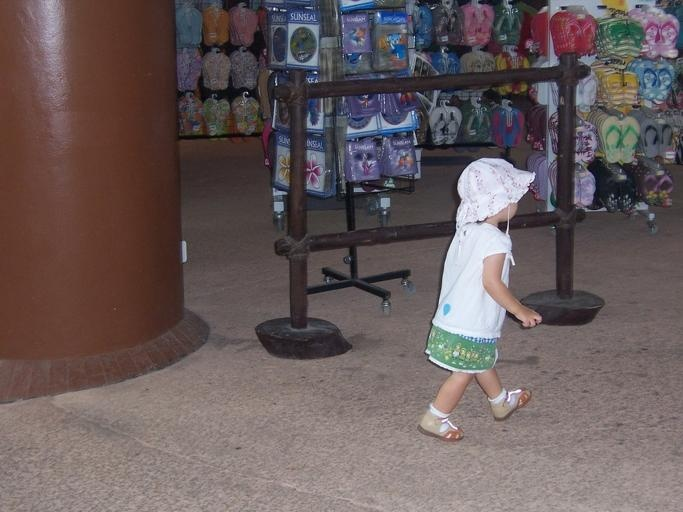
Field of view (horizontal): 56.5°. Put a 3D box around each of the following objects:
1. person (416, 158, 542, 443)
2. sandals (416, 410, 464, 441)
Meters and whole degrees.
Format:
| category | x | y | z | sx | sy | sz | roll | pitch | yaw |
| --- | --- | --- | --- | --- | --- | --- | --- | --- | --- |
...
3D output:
| category | x | y | z | sx | sy | sz | roll | pitch | yaw |
| --- | --- | --- | --- | --- | --- | --- | --- | --- | --- |
| person | 0.667 | 0.207 | 2.811 | 0.600 | 1.208 | 0.502 | -7 | 10 | -33 |
| sandals | 0.419 | 0.740 | 2.759 | 0.206 | 0.136 | 0.099 | 5 | 19 | 5 |
